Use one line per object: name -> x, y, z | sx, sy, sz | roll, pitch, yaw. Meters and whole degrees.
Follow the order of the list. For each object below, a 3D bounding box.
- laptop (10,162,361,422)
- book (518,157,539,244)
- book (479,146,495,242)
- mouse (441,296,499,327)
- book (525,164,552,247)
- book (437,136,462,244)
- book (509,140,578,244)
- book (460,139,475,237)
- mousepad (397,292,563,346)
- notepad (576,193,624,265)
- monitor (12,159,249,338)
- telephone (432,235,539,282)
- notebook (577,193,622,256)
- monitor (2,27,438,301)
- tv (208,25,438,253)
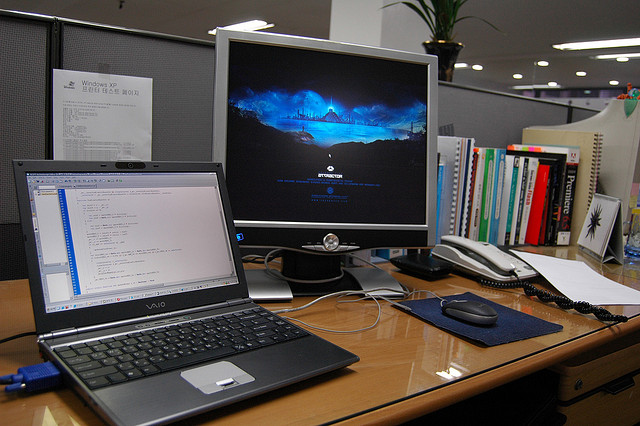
laptop -> -0.310, 0.122, 0.881 | 0.519, 0.340, 0.550 | 2, 11, -42
book -> 0.828, -0.042, 1.790 | 0.039, 0.336, 0.313 | 1, -5, 15
book -> 0.588, -0.062, 1.584 | 0.075, 0.330, 0.017 | -14, 16, -36
mouse -> 0.343, 0.216, 1.030 | 0.107, 0.032, 0.061 | 11, 6, 36
book -> 0.827, -0.033, 1.683 | 0.048, 0.251, 0.115 | -3, 20, -28
book -> 0.428, -0.089, 1.508 | 0.067, 0.321, 0.197 | 7, 14, 7
book -> 0.840, -0.070, 1.693 | 0.132, 0.361, 0.362 | 1, -8, -28
book -> 0.504, -0.086, 1.541 | 0.012, 0.330, 0.076 | 9, 18, 44
mousepad -> 0.339, 0.199, 1.005 | 0.161, 0.014, 0.145 | -1, 11, -37
notepad -> 1.012, 0.043, 1.610 | 0.084, 0.228, 0.253 | 3, 10, 13
monitor -> -0.372, 0.074, 0.879 | 0.402, 0.263, 0.030 | -3, -17, -30
telephone -> 0.511, 0.128, 1.374 | 0.287, 0.081, 0.284 | 13, 8, 34
notebook -> 0.991, 0.044, 1.590 | 0.079, 0.211, 0.192 | 8, 12, -11
monitor -> -0.236, -0.118, 1.052 | 0.794, 0.614, 0.315 | 1, 2, -22
tv -> 0.007, -0.169, 1.120 | 0.661, 0.492, 0.063 | 2, 5, -13
